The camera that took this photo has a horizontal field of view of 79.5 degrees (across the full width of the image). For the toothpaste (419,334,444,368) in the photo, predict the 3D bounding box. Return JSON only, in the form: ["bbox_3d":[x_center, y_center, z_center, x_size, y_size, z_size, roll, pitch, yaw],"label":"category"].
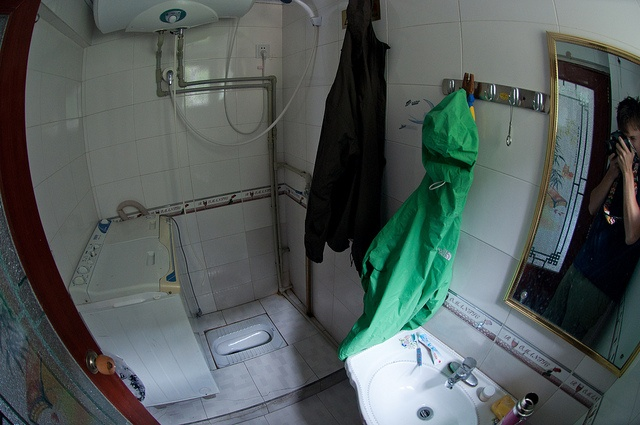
[{"bbox_3d":[0.533,0.671,1.886,0.065,0.032,0.121,-11,39,-9],"label":"toothpaste"}]

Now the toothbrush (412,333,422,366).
[{"bbox_3d":[0.474,0.662,1.881,0.029,0.011,0.107,2,45,-7],"label":"toothbrush"}]

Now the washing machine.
[{"bbox_3d":[-1.023,0.674,2.347,0.597,1.203,0.658,-12,12,-19],"label":"washing machine"}]

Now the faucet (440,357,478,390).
[{"bbox_3d":[0.625,0.730,1.738,0.129,0.084,0.137,-20,36,-26],"label":"faucet"}]

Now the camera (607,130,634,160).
[{"bbox_3d":[1.001,-0.235,1.299,0.066,0.072,0.063,-11,-1,-38],"label":"camera"}]
